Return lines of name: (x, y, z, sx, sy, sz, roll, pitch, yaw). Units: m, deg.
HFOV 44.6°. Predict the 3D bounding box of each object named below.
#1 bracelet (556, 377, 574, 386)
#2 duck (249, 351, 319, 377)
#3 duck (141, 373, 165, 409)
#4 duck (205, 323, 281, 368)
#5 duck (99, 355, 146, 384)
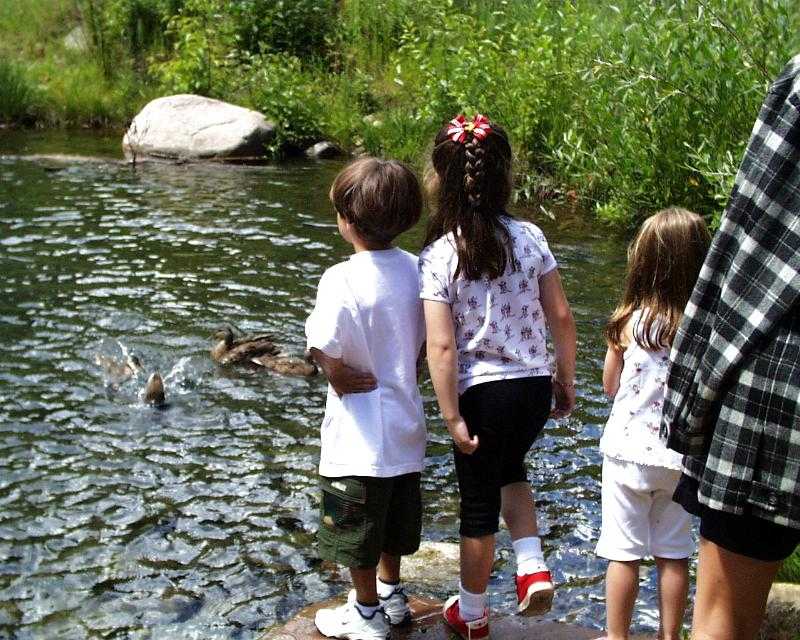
bracelet: (0.920, 0.348, 5.530, 0.117, 0.043, 0.038, 3, 7, 19)
duck: (-1.054, 0.381, 8.913, 0.685, 0.211, 0.277, 9, 16, 13)
duck: (-2.064, 0.558, 8.137, 0.197, 0.258, 0.320, -5, 23, -14)
duck: (-1.482, 0.231, 9.062, 0.610, 0.391, 0.329, -5, 0, 13)
duck: (-2.450, 0.401, 8.592, 0.312, 0.129, 0.424, -11, 24, -27)
